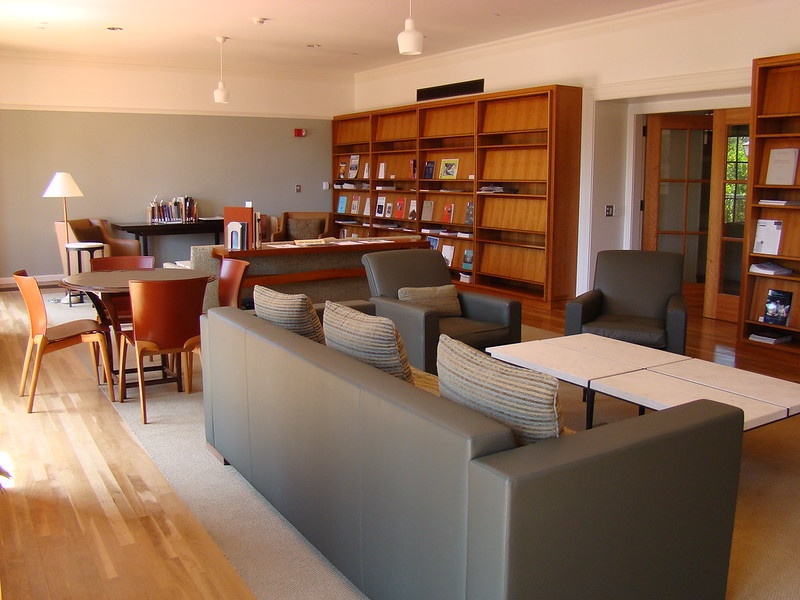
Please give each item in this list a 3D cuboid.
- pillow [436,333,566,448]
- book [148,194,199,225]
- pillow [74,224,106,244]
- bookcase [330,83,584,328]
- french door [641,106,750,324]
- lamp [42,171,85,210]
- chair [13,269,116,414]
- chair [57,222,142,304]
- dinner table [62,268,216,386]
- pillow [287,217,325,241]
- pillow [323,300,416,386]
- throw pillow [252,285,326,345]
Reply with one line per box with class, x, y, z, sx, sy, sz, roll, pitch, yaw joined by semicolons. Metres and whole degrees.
pillow;0.339;0.324;2.161;0.178;0.305;0.572;-8;11;-35
book;-3.829;-1.500;9.795;0.644;0.486;0.245;-2;3;-31
pillow;-4.532;-0.939;8.530;0.367;0.247;0.616;-4;9;-19
bookcase;0.895;-1.282;7.563;0.454;2.337;4.095;-5;8;-37
french door;3.685;-1.004;6.918;0.157;2.454;1.904;-11;15;-19
lamp;-4.987;-1.616;8.617;0.660;0.529;0.648;-10;17;-35
chair;-2.570;0.274;4.498;0.675;0.855;0.585;-1;10;-25
chair;-4.391;-0.591;8.550;0.995;1.052;0.834;0;11;4
dinner table;-1.987;0.233;4.472;0.915;0.419;0.887;1;10;-5
pillow;-1.656;-1.248;10.208;0.686;0.339;0.383;0;9;6
pillow;-0.186;0.195;2.799;0.496;0.332;0.178;13;25;43
throw pillow;-0.656;0.091;3.392;0.393;0.334;0.192;9;14;39
